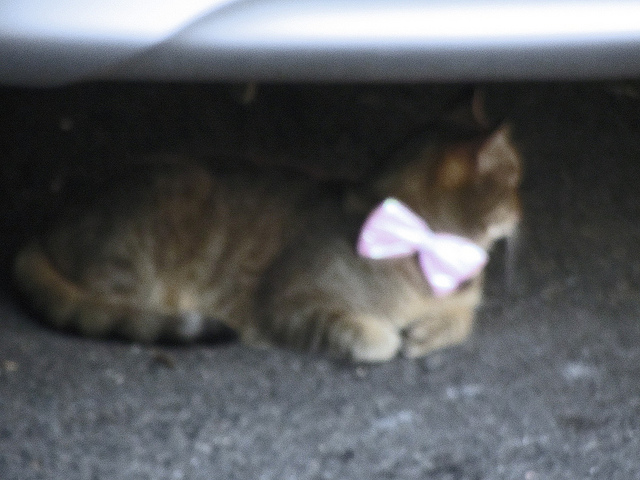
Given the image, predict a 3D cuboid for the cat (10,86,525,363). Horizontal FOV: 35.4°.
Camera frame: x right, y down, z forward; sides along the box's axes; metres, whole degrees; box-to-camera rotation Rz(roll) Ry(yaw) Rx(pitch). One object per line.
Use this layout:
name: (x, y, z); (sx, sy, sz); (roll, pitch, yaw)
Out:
cat: (-0.051, 0.006, 1.046); (0.551, 0.131, 0.231); (-6, 64, -5)

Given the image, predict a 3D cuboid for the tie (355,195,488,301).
tie: (0.110, 0.014, 1.072); (0.141, 0.063, 0.088); (29, 37, 20)
